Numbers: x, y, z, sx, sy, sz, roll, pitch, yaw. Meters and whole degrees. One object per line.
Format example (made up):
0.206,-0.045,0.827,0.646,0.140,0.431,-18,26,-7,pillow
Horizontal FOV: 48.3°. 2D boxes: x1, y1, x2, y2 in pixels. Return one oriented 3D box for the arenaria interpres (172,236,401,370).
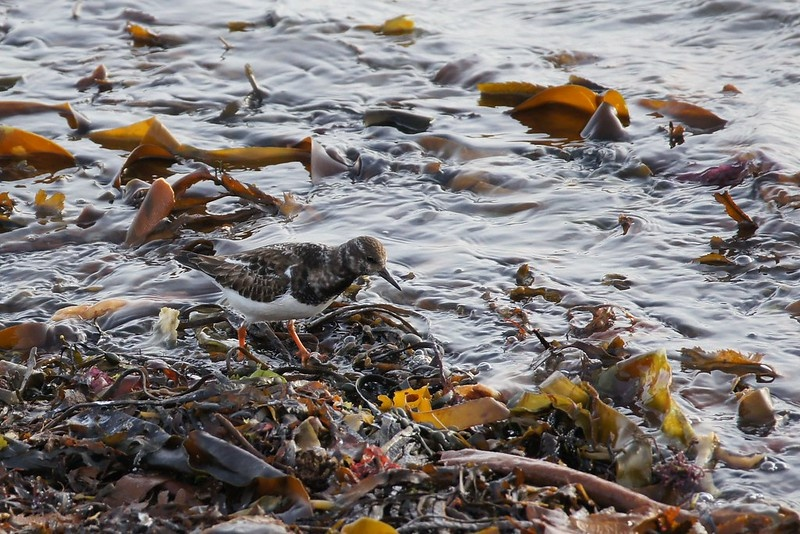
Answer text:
-0.941,0.350,7.575,1.796,0.577,0.471,9,16,4,arenaria interpres
